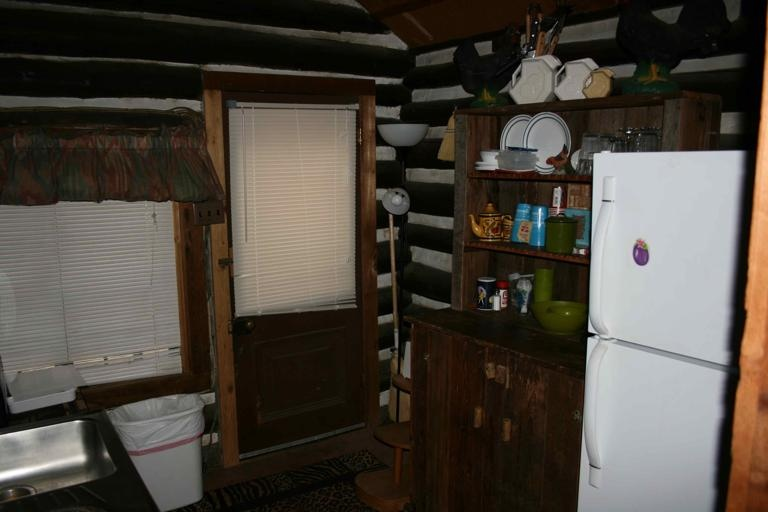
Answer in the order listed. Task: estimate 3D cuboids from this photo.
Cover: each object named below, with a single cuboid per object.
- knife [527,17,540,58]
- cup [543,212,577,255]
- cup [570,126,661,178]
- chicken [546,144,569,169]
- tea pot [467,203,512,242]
[{"bbox_3d":[0.943,-1.377,3.741,0.097,0.240,0.065,9,14,12],"label":"knife"},{"bbox_3d":[1.074,-0.134,3.693,0.221,0.233,0.217,3,6,0],"label":"cup"},{"bbox_3d":[1.304,-0.606,3.401,0.244,0.420,0.438,-10,17,-42],"label":"cup"},{"bbox_3d":[1.091,-0.625,3.700,0.103,0.173,0.074,15,29,-10],"label":"chicken"},{"bbox_3d":[0.704,-0.218,3.939,0.353,0.243,0.170,0,7,-14],"label":"tea pot"}]
